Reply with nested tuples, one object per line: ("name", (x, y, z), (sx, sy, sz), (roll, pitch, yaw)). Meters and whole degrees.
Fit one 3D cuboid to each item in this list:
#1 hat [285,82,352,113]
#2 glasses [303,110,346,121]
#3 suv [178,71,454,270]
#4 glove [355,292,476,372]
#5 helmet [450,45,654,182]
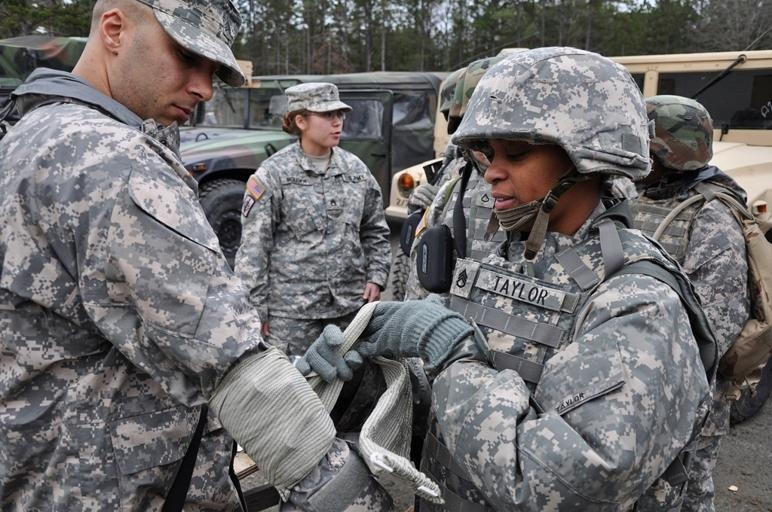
("hat", (-0.473, -1.025, 4.983), (0.320, 0.141, 0.243), (2, 8, 12))
("glasses", (-0.418, -0.909, 4.942), (0.171, 0.048, 0.140), (4, 10, 25))
("suv", (-0.865, -1.079, 8.574), (2.815, 1.672, 1.972), (-6, 10, -40))
("glove", (0.115, 0.280, 2.862), (0.278, 0.151, 0.327), (4, 5, -40))
("helmet", (0.627, -0.503, 2.865), (0.580, 0.373, 0.490), (0, 10, -6))
